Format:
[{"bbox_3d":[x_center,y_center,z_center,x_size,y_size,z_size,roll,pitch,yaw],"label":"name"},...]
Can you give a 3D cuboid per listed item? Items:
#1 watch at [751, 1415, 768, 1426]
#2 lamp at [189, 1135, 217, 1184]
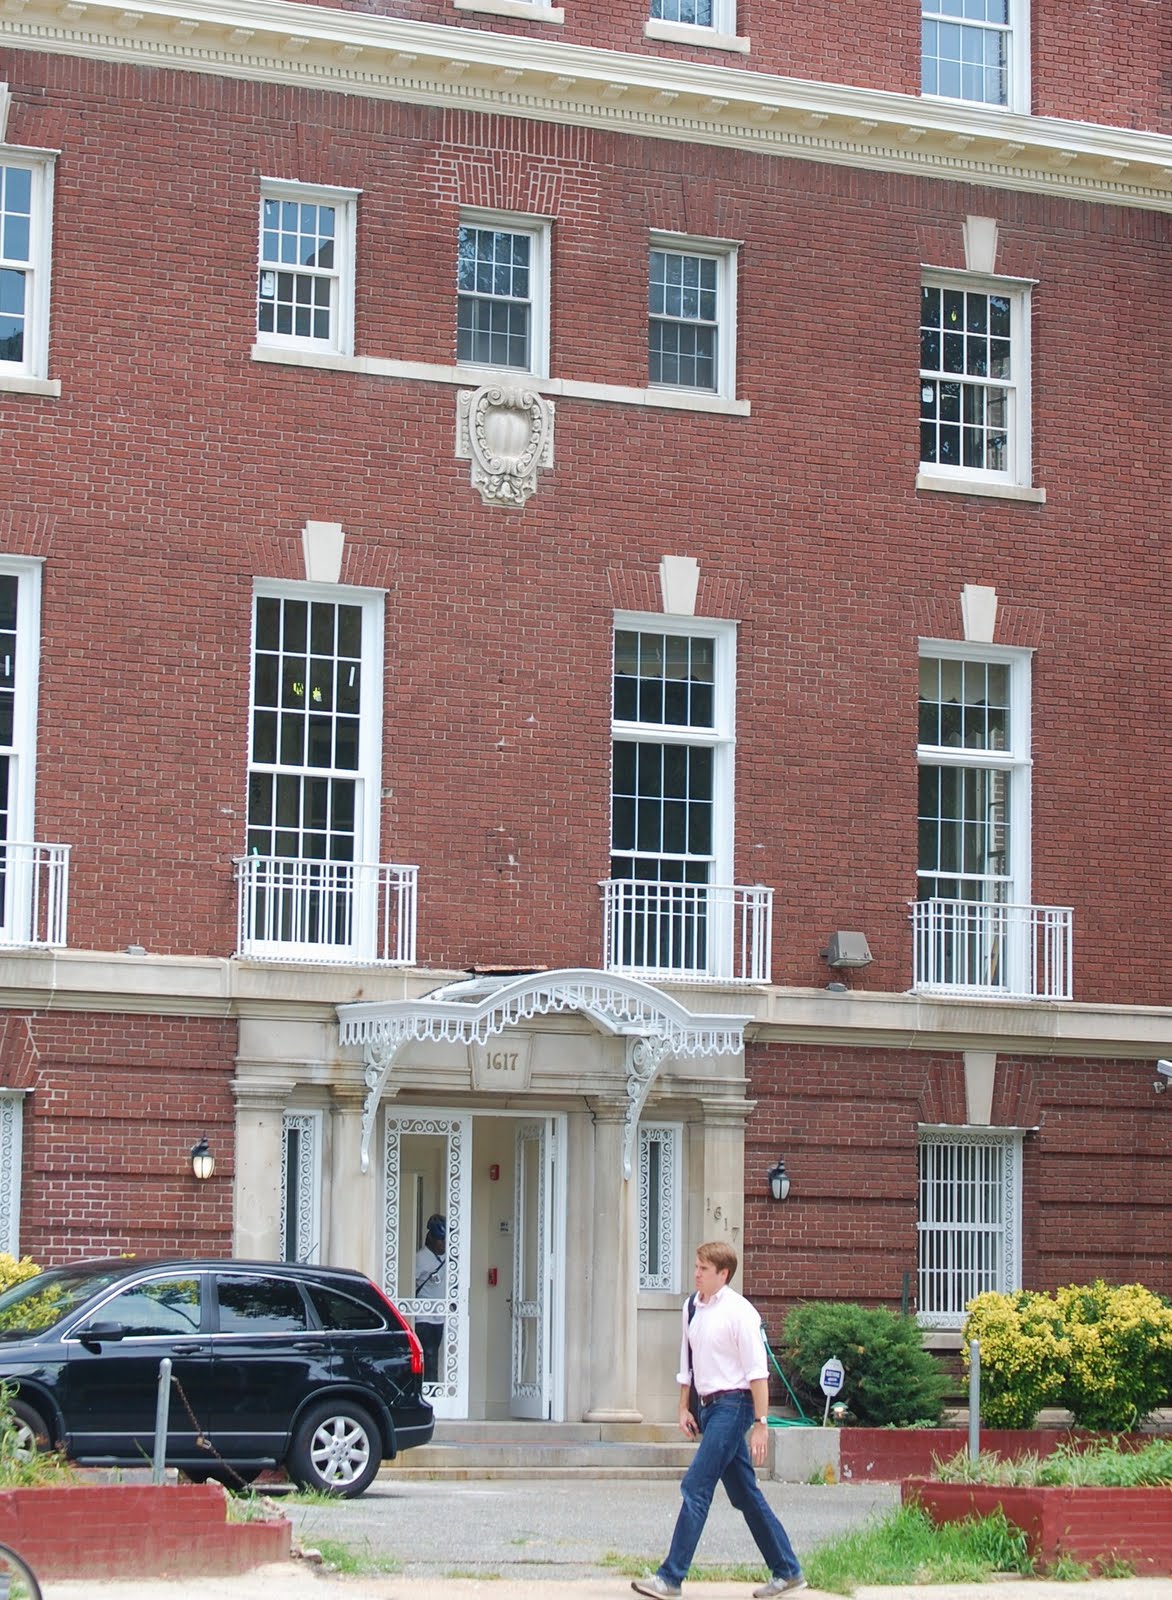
[{"bbox_3d":[0.957,3.538,27.422,0.078,0.032,0.079,-5,-7,42],"label":"watch"},{"bbox_3d":[-2.872,2.704,35.945,0.231,0.394,0.248,2,4,3],"label":"lamp"}]
